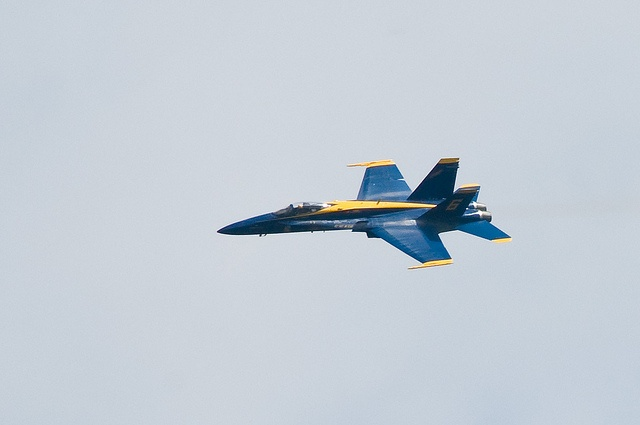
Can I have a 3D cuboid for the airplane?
[{"bbox_3d":[3.329,-0.045,71.177,12.613,7.403,2.599,-2,-59,-6],"label":"airplane"}]
